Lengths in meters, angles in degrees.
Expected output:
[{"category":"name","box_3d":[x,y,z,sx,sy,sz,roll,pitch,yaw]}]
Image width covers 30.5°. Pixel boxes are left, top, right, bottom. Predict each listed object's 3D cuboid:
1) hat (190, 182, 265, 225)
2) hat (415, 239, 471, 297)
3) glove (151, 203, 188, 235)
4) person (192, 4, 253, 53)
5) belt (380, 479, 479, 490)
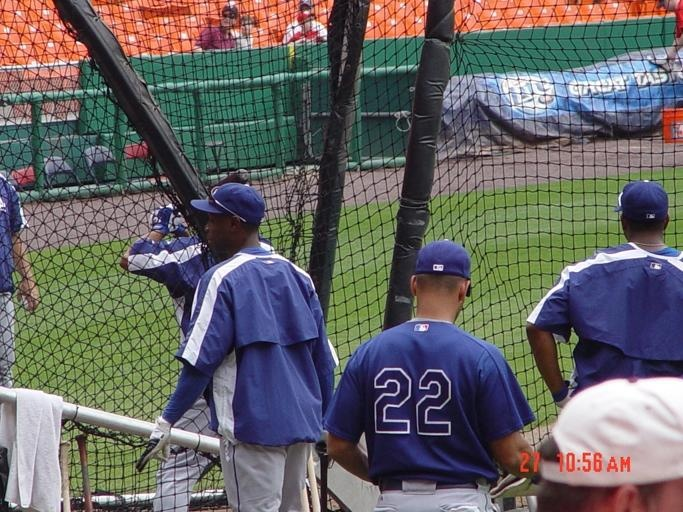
[{"category":"hat","box_3d":[-0.708,-0.347,8.083,0.370,0.199,0.274,11,5,-1]},{"category":"hat","box_3d":[0.741,0.067,7.528,0.363,0.281,0.605,6,-4,10]},{"category":"glove","box_3d":[-1.221,-0.261,9.017,0.169,0.210,0.215,-4,24,-46]},{"category":"person","box_3d":[-1.092,-2.141,11.715,0.526,0.438,1.504,-1,7,-5]},{"category":"belt","box_3d":[0.521,1.337,7.267,0.572,0.077,0.092,1,7,5]}]
